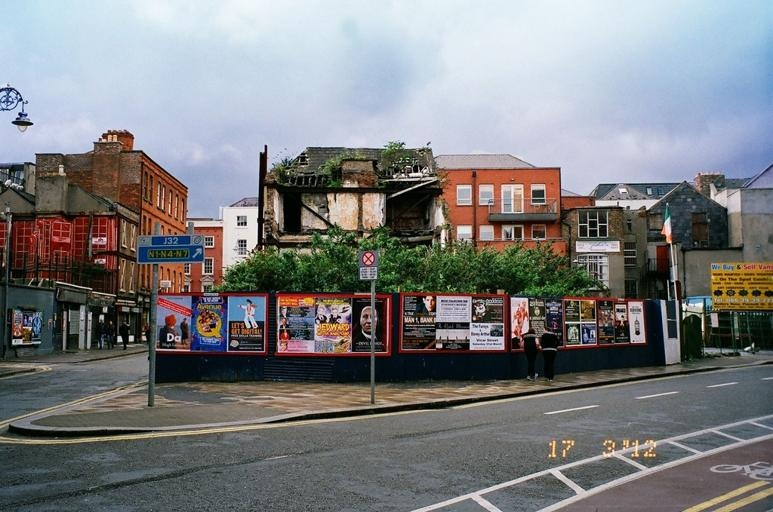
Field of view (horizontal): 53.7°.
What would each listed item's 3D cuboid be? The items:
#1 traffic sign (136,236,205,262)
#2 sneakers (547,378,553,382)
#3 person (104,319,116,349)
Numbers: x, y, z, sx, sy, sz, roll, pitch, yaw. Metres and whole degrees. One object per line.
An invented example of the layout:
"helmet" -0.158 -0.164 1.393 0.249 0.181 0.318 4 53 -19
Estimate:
"traffic sign" -6.162 -0.218 21.757 1.889 0.865 0.450 -3 -7 12
"sneakers" 5.764 4.367 26.964 0.139 0.094 0.133 0 0 9
"person" -17.631 5.046 48.812 0.472 1.734 1.584 1 -8 -23
